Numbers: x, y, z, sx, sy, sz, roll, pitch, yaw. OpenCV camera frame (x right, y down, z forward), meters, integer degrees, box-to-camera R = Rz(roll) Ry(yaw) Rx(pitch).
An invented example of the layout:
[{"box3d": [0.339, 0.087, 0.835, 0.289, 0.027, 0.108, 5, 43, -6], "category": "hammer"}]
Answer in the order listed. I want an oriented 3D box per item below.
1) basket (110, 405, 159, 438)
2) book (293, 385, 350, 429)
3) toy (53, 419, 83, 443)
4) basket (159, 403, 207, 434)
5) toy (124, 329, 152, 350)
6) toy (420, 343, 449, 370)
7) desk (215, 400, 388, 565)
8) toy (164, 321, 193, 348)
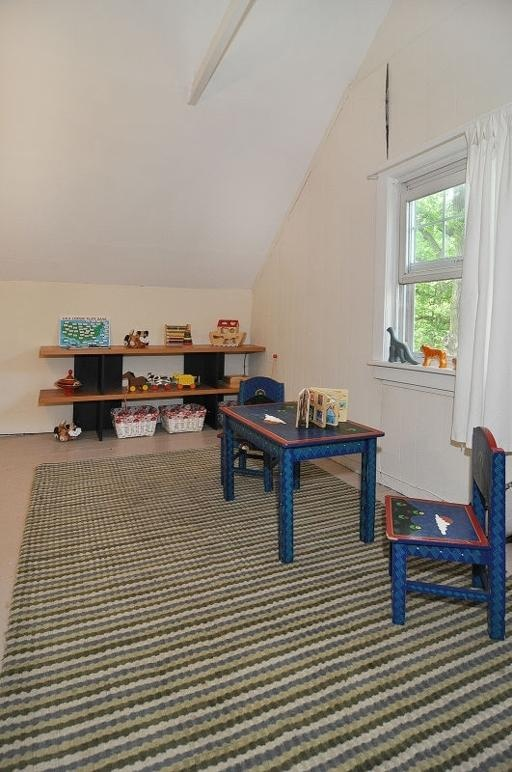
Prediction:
[{"box3d": [-1.018, 0.299, 4.665, 0.253, 0.189, 0.327, -1, 8, -15], "category": "basket"}, {"box3d": [0.305, 0.098, 2.613, 0.199, 0.150, 0.199, 0, 4, -18], "category": "book"}, {"box3d": [-1.534, 0.372, 4.486, 0.148, 0.088, 0.242, -3, 4, -27], "category": "toy"}, {"box3d": [-0.672, 0.273, 4.914, 0.243, 0.149, 0.318, -2, 8, -21], "category": "basket"}, {"box3d": [-1.023, -0.398, 4.800, 0.199, 0.145, 0.154, 2, 2, 6], "category": "toy"}, {"box3d": [0.920, -0.140, 2.911, 0.069, 0.136, 0.190, -6, 13, -32], "category": "toy"}, {"box3d": [0.170, 0.417, 2.760, 0.483, 0.536, 0.816, -5, 11, -24], "category": "desk"}, {"box3d": [-0.713, -0.458, 5.073, 0.234, 0.235, 0.185, -1, 2, -22], "category": "toy"}]
